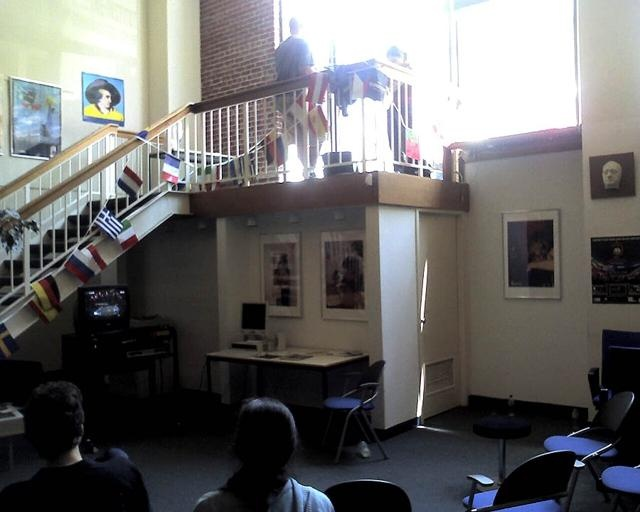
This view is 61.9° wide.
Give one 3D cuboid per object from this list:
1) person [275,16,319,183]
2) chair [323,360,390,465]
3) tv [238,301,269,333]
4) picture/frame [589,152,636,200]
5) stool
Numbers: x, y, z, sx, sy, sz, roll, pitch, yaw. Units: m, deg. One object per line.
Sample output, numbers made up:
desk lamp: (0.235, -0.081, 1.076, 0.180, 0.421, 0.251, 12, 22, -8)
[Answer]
person: (-0.293, -2.100, 6.971, 0.518, 2.212, 1.169, -1, 2, -5)
chair: (0.396, 1.665, 6.210, 0.730, 0.998, 1.229, -1, 3, 0)
tv: (-0.937, 0.849, 7.385, 0.360, 0.395, 0.088, 2, -4, 29)
picture/frame: (3.354, -0.912, 6.090, 0.494, 0.578, 0.166, 0, 1, 41)
stool: (1.697, 1.677, 4.989, 0.531, 0.694, 0.566, -2, 0, 20)
